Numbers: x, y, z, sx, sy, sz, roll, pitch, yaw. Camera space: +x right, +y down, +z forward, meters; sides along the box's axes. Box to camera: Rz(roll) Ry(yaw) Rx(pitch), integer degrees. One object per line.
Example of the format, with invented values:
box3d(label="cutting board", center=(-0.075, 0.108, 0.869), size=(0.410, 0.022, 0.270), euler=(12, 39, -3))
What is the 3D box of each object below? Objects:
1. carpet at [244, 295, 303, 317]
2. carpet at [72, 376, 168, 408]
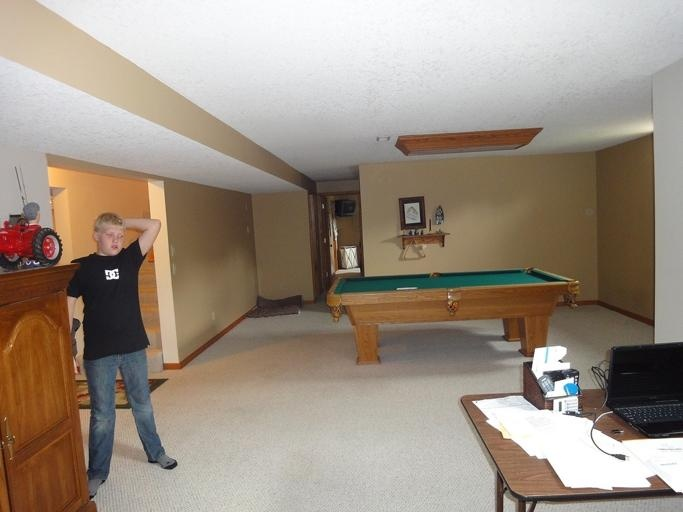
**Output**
box3d(label="carpet", center=(-1.160, 0.881, 8.509), size=(0.889, 0.207, 1.018), euler=(-3, 10, 2))
box3d(label="carpet", center=(-1.829, 1.132, 3.967), size=(0.664, 0.041, 0.588), euler=(1, 5, -11))
